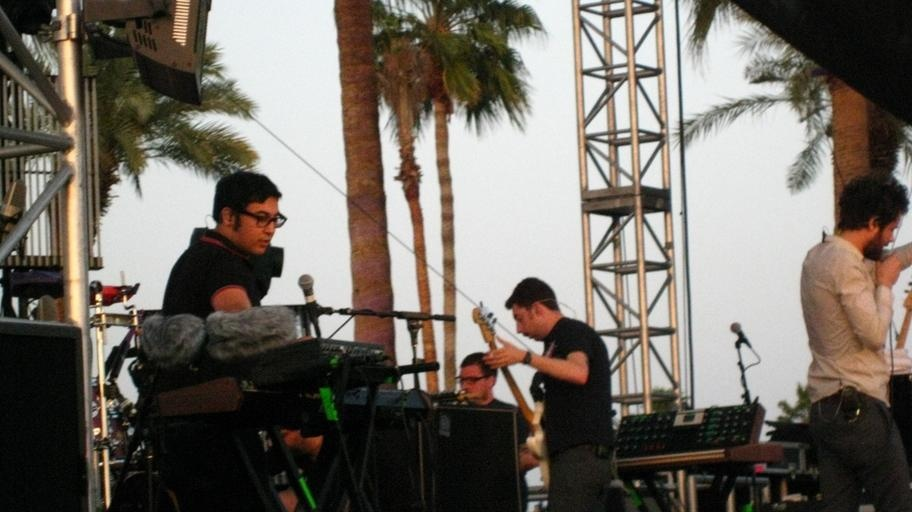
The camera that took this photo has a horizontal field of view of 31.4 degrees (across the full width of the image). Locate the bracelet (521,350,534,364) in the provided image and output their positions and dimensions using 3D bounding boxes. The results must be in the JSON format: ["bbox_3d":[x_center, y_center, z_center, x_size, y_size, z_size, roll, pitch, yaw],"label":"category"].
[{"bbox_3d":[0.886,1.216,19.607,0.100,0.143,0.128,7,-13,-13],"label":"bracelet"}]

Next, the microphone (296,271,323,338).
[{"bbox_3d":[-1.663,0.623,18.805,0.177,0.776,0.171,-11,15,-9],"label":"microphone"}]

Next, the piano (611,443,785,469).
[{"bbox_3d":[3.192,2.544,20.830,1.994,0.265,0.270,-5,-11,19],"label":"piano"}]
